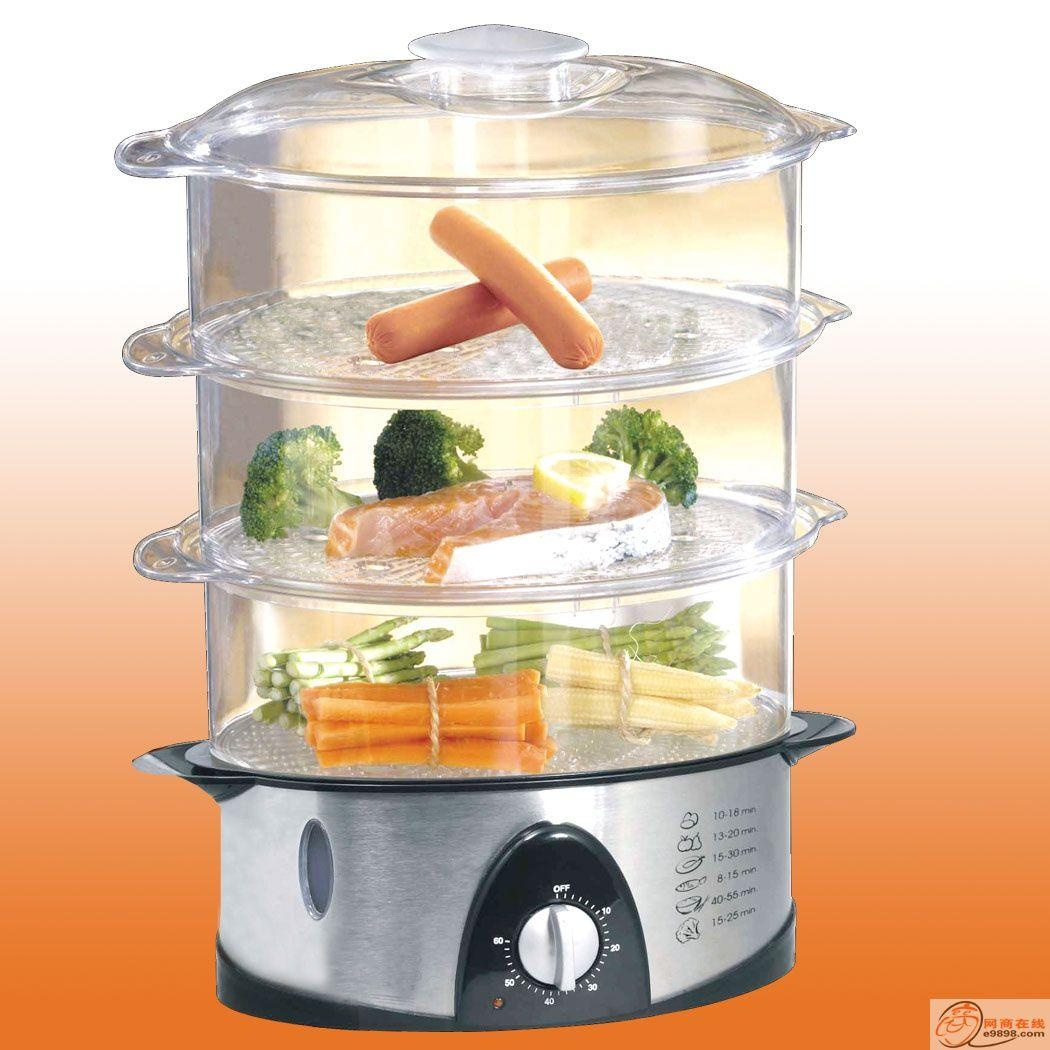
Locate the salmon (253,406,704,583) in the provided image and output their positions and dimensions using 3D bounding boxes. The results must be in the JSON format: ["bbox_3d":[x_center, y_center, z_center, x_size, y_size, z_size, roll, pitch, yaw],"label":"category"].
[{"bbox_3d":[-0.111,-0.076,2.908,1.004,0.199,0.567,-1,28,2],"label":"salmon"}]

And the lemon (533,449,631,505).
[{"bbox_3d":[0.117,-0.097,2.887,0.155,0.123,0.194,2,5,26],"label":"lemon"}]

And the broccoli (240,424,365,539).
[{"bbox_3d":[-0.501,-0.103,2.885,0.281,0.223,0.103,-6,17,-13],"label":"broccoli"}]

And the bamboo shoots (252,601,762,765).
[{"bbox_3d":[-0.057,0.356,2.869,1.465,0.255,0.331,-2,-21,-5],"label":"bamboo shoots"}]
